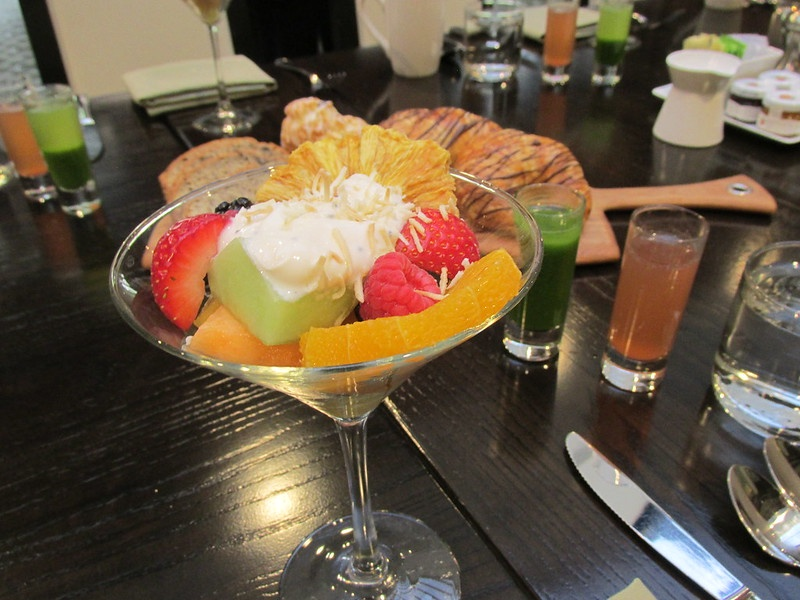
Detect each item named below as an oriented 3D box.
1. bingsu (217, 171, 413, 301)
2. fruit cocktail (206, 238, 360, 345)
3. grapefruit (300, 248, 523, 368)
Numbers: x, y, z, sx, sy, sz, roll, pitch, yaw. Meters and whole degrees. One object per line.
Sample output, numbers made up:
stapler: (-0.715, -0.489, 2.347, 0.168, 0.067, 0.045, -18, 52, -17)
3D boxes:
bingsu: (-0.097, -0.079, 0.747, 0.166, 0.073, 0.181, 37, 63, 23)
fruit cocktail: (-0.112, -0.020, 0.828, 0.169, 0.107, 0.256, -5, 26, -17)
grapefruit: (0.022, 0.020, 0.707, 0.259, 0.076, 0.086, -18, 40, -21)
